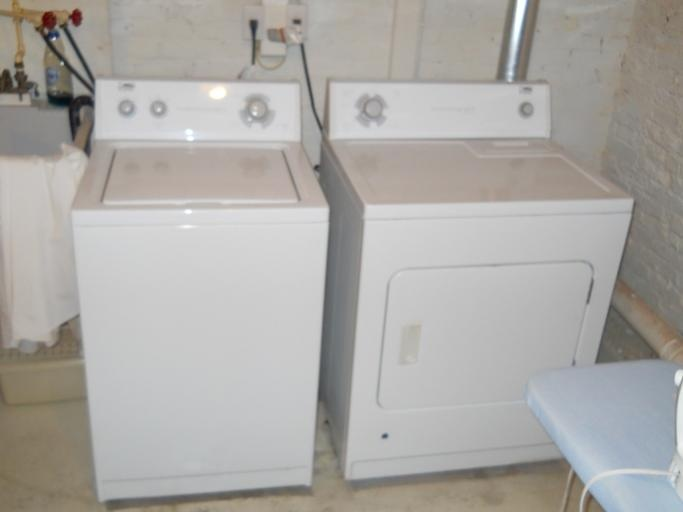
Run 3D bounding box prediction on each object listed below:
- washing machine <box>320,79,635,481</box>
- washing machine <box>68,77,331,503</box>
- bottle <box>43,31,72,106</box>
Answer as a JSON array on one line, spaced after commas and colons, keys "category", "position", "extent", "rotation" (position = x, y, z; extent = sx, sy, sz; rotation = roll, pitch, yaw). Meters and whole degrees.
[{"category": "washing machine", "position": [0.425, 0.075, 2.263], "extent": [0.987, 1.414, 0.673], "rotation": [-2, 21, -9]}, {"category": "washing machine", "position": [-0.479, 0.122, 2.102], "extent": [0.797, 1.411, 0.623], "rotation": [-2, 21, -8]}, {"category": "bottle", "position": [-1.234, -0.819, 2.519], "extent": [0.108, 0.309, 0.150], "rotation": [-8, 23, -23]}]
